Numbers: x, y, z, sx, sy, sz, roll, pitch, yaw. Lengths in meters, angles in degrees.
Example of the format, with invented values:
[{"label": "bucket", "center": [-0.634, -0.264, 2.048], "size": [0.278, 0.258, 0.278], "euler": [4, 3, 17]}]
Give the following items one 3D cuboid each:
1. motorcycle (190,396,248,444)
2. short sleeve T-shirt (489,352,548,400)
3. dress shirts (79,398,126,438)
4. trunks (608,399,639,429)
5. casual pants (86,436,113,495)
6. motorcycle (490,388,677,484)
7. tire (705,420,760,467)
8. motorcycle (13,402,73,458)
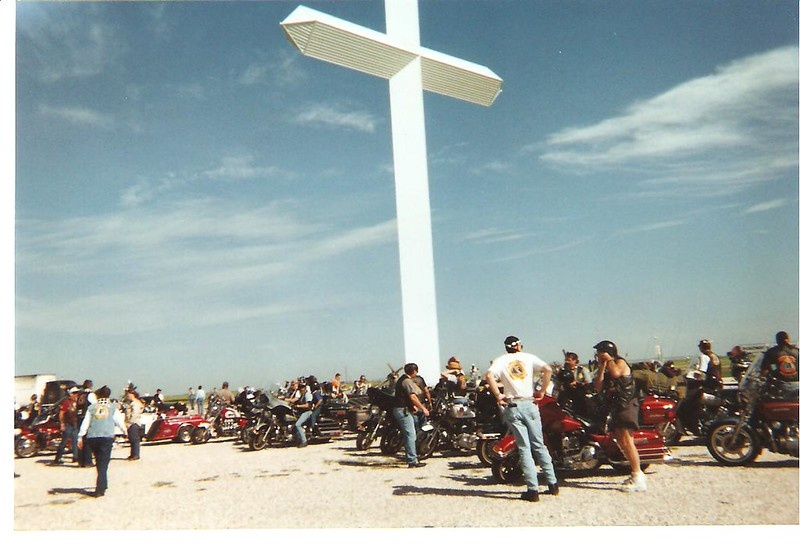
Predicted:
[{"label": "motorcycle", "center": [-5.816, 4.431, 18.391], "size": [2.178, 1.151, 1.055], "euler": [4, -15, -25]}, {"label": "short sleeve T-shirt", "center": [1.960, 1.659, 10.335], "size": [0.998, 0.739, 0.368], "euler": [-7, -12, 12]}, {"label": "dress shirts", "center": [-5.425, 2.656, 11.435], "size": [0.876, 0.729, 0.452], "euler": [-1, -8, -3]}, {"label": "trunks", "center": [3.747, 2.377, 10.386], "size": [0.455, 0.468, 0.466], "euler": [0, -9, -13]}, {"label": "casual pants", "center": [-5.520, 3.537, 11.531], "size": [0.408, 1.120, 0.755], "euler": [-5, 2, -27]}, {"label": "motorcycle", "center": [3.269, 2.855, 11.029], "size": [2.962, 1.669, 1.505], "euler": [-7, -20, 19]}, {"label": "tire", "center": [5.873, 2.983, 10.956], "size": [0.852, 0.843, 0.308], "euler": [6, 6, 20]}, {"label": "motorcycle", "center": [-9.370, 4.348, 16.918], "size": [0.978, 1.266, 2.103], "euler": [-12, -18, 19]}]
